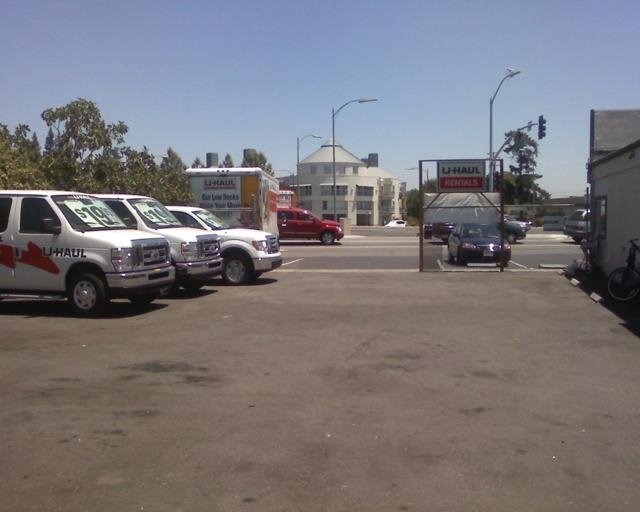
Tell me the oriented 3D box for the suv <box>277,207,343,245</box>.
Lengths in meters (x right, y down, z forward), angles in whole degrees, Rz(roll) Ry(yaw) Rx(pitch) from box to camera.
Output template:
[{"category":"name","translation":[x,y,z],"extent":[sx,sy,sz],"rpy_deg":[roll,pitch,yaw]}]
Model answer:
[{"category":"suv","translation":[-0.479,-1.908,35.681],"extent":[3.774,1.763,1.931],"rpy_deg":[-1,4,3]}]
